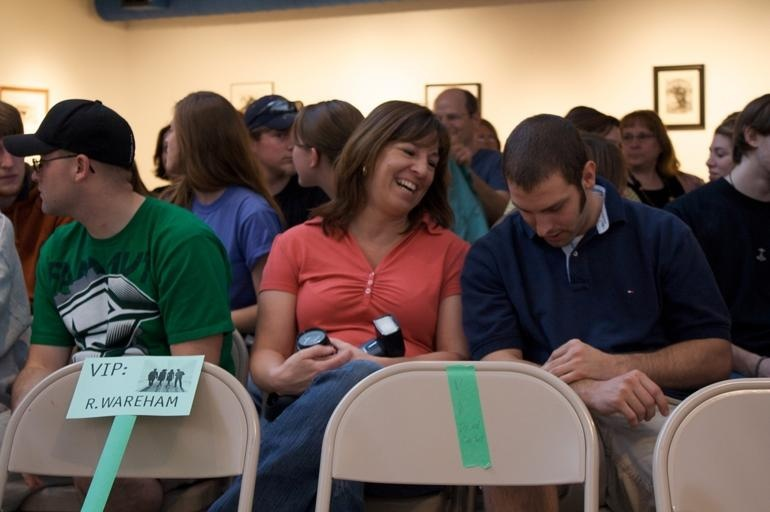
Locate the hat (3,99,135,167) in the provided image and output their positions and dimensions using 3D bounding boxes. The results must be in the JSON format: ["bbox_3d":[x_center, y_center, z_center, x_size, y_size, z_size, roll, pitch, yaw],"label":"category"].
[{"bbox_3d":[-1.084,-0.435,2.198,0.384,0.228,0.242,15,7,-12],"label":"hat"}]

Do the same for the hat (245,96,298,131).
[{"bbox_3d":[-0.641,-0.808,3.568,0.278,0.168,0.217,-24,-8,39],"label":"hat"}]

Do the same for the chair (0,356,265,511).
[{"bbox_3d":[-0.762,0.544,1.955,0.592,0.599,0.485,4,-2,1],"label":"chair"}]

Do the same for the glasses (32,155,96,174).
[{"bbox_3d":[-1.178,-0.340,2.207,0.133,0.039,0.103,-7,0,-4],"label":"glasses"}]

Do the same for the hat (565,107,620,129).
[{"bbox_3d":[1.337,-0.876,3.959,0.284,0.132,0.244,3,4,2],"label":"hat"}]
